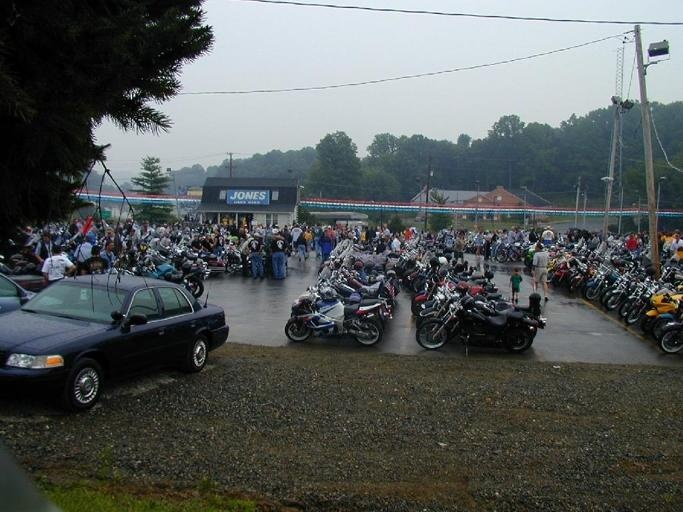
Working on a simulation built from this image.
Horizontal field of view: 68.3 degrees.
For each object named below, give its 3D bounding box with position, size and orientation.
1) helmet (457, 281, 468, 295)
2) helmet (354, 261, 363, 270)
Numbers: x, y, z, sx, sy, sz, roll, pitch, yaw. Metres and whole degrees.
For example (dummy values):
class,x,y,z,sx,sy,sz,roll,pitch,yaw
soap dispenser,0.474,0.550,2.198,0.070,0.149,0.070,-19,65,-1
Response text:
class,x,y,z,sx,sy,sz,roll,pitch,yaw
helmet,3.010,0.783,12.355,0.214,0.298,0.279,23,-39,-15
helmet,0.594,0.333,16.626,0.227,0.297,0.241,1,1,7
